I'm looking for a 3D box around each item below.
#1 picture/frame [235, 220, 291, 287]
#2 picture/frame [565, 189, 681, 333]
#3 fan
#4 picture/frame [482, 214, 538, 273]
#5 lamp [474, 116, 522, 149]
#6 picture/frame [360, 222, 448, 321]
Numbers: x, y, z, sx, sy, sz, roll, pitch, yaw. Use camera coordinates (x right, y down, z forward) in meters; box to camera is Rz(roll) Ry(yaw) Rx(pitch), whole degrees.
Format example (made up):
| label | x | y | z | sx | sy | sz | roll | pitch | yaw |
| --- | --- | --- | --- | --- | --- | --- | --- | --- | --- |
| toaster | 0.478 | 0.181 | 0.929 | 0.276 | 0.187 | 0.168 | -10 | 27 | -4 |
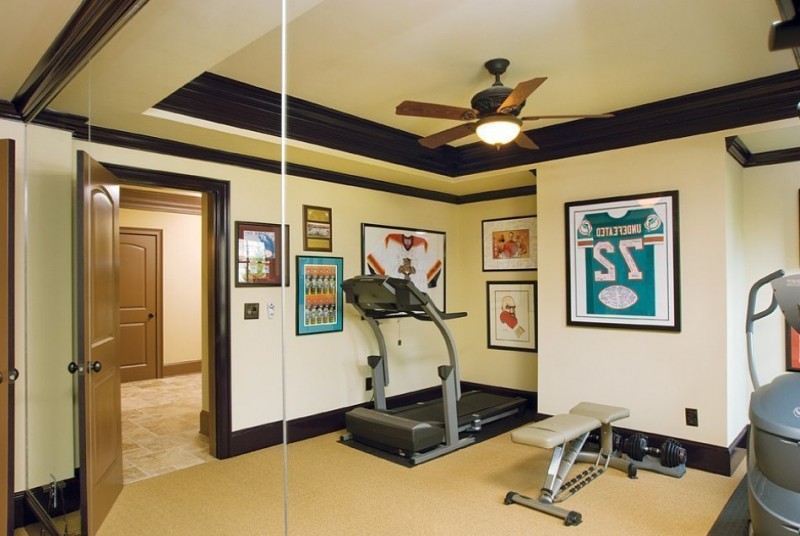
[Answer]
| label | x | y | z | sx | sy | sz | roll | pitch | yaw |
| --- | --- | --- | --- | --- | --- | --- | --- | --- | --- |
| picture/frame | -1.122 | -0.117 | 4.283 | 0.046 | 0.664 | 0.581 | -3 | -4 | 43 |
| picture/frame | 1.699 | -0.051 | 4.163 | 0.821 | 1.037 | 0.040 | -2 | -5 | 32 |
| fan | 0.687 | -1.132 | 3.561 | 1.428 | 0.556 | 1.231 | 0 | -4 | -7 |
| picture/frame | 1.069 | -0.216 | 5.110 | 0.567 | 0.463 | 0.021 | -4 | -12 | 24 |
| lamp | 0.634 | -0.884 | 3.481 | 0.254 | 0.174 | 0.201 | -4 | 9 | -15 |
| picture/frame | 0.030 | -0.036 | 5.202 | 1.059 | 0.734 | 0.126 | 0 | 2 | -41 |
